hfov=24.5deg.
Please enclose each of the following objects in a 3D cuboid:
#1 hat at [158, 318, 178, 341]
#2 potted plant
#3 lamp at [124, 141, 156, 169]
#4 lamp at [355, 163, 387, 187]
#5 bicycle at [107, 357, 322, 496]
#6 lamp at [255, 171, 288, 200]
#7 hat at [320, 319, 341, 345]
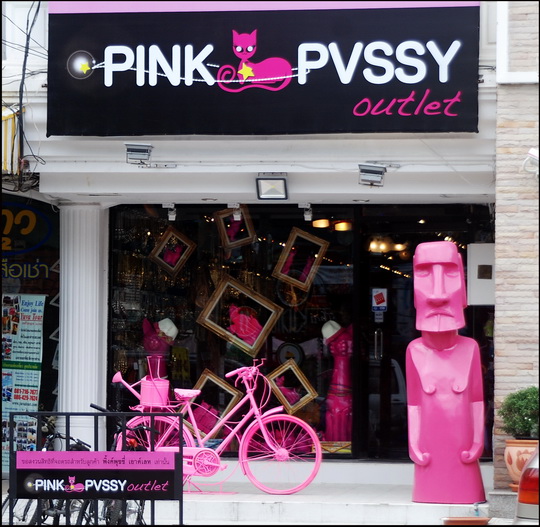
[{"bbox_3d":[-1.000,0.647,12.341,0.082,0.225,0.144,-27,19,50],"label":"hat"},{"bbox_3d":[2.120,1.450,10.464,0.250,0.864,0.439,6,-11,-38],"label":"potted plant"},{"bbox_3d":[-1.176,-0.973,11.178,0.246,0.186,0.258,0,-8,-6],"label":"lamp"},{"bbox_3d":[0.893,-0.788,11.043,0.198,0.152,0.215,3,1,10],"label":"lamp"},{"bbox_3d":[-0.518,1.544,11.604,2.012,1.112,0.805,-1,-3,18],"label":"bicycle"},{"bbox_3d":[0.011,-0.703,11.408,0.289,0.220,0.359,-1,-8,0],"label":"lamp"},{"bbox_3d":[0.574,0.647,12.197,0.234,0.225,0.178,-12,4,0],"label":"hat"}]
